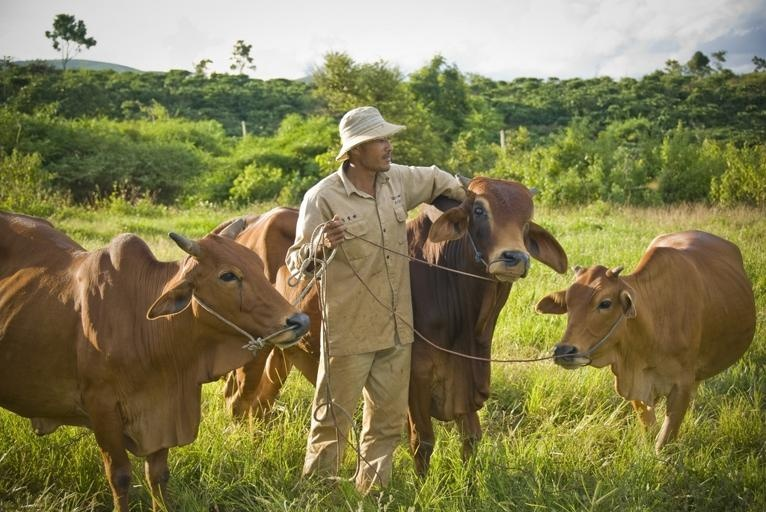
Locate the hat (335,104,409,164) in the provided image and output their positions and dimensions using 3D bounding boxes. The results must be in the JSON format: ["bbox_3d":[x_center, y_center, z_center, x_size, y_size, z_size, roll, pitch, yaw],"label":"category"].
[{"bbox_3d":[-0.156,-1.439,9.353,0.714,0.411,0.657,-21,-2,5],"label":"hat"}]

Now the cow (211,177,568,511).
[{"bbox_3d":[-0.114,0.931,10.422,5.524,3.800,1.821,2,4,40],"label":"cow"}]

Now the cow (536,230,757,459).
[{"bbox_3d":[3.141,0.998,9.884,2.653,2.448,0.758,-2,3,-26],"label":"cow"}]
